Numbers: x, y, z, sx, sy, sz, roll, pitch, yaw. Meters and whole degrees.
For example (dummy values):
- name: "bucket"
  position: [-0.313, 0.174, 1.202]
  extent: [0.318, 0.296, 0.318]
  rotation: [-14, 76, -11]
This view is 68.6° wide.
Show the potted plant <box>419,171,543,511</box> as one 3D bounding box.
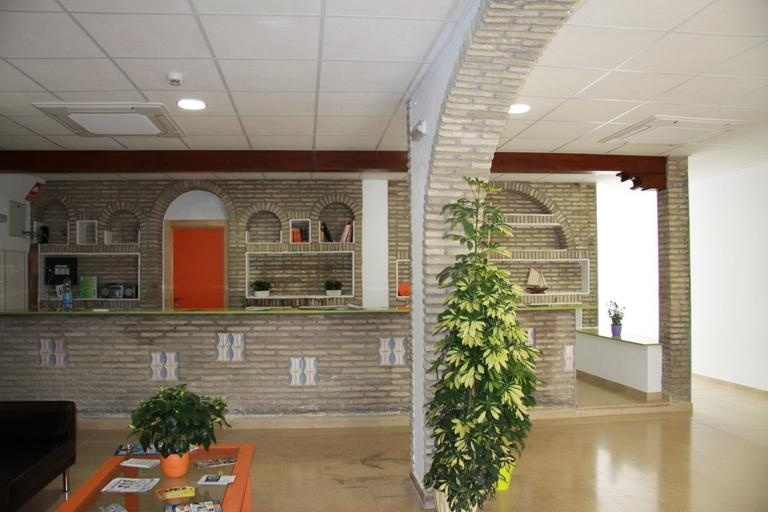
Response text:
- name: "potted plant"
  position: [0.909, 0.923, 5.252]
  extent: [1.017, 3.277, 1.030]
  rotation: [1, 10, 4]

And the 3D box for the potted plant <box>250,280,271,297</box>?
- name: "potted plant"
  position: [-2.131, 0.553, 9.666]
  extent: [0.301, 0.253, 0.315]
  rotation: [0, -1, -11]

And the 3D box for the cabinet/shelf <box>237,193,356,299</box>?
- name: "cabinet/shelf"
  position: [-1.607, -0.163, 9.797]
  extent: [2.142, 1.699, 0.605]
  rotation: [0, -1, -5]

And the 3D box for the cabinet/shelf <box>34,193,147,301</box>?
- name: "cabinet/shelf"
  position: [-5.066, -0.196, 9.734]
  extent: [1.771, 1.847, 0.587]
  rotation: [0, 10, 0]

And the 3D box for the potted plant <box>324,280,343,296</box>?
- name: "potted plant"
  position: [-0.885, 0.539, 9.733]
  extent: [0.360, 0.272, 0.242]
  rotation: [0, -4, -11]

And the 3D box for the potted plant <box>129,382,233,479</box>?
- name: "potted plant"
  position: [-1.902, 1.560, 5.417]
  extent: [0.995, 0.738, 0.922]
  rotation: [1, 1, 3]
